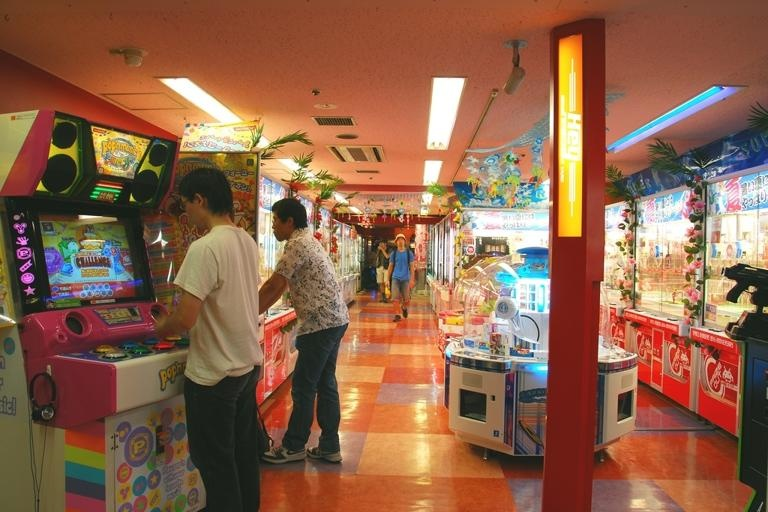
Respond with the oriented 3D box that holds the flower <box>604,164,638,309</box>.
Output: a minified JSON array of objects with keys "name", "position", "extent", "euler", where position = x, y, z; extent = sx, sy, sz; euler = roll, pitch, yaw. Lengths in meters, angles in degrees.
[{"name":"flower","position":[3.551,-0.315,8.126],"extent":[0.580,2.025,1.177],"euler":[7,12,24]}]

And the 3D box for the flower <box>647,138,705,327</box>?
[{"name":"flower","position":[3.578,-0.340,6.694],"extent":[0.708,2.128,1.031],"euler":[6,11,21]}]

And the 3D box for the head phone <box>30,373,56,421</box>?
[{"name":"head phone","position":[-2.322,0.969,3.697],"extent":[0.222,0.378,0.060],"euler":[6,12,22]}]

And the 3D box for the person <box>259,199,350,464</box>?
[{"name":"person","position":[-0.709,0.701,4.853],"extent":[0.731,2.394,0.597],"euler":[1,11,-5]}]

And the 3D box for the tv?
[{"name":"tv","position":[-2.180,0.025,3.996],"extent":[0.097,0.601,0.727],"euler":[-25,-12,34]}]

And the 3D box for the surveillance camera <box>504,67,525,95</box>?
[{"name":"surveillance camera","position":[1.129,-1.535,4.753],"extent":[0.142,0.190,0.302],"euler":[2,10,2]}]

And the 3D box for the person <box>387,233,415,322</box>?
[{"name":"person","position":[0.357,0.483,12.067],"extent":[0.518,2.015,1.228],"euler":[2,11,3]}]
